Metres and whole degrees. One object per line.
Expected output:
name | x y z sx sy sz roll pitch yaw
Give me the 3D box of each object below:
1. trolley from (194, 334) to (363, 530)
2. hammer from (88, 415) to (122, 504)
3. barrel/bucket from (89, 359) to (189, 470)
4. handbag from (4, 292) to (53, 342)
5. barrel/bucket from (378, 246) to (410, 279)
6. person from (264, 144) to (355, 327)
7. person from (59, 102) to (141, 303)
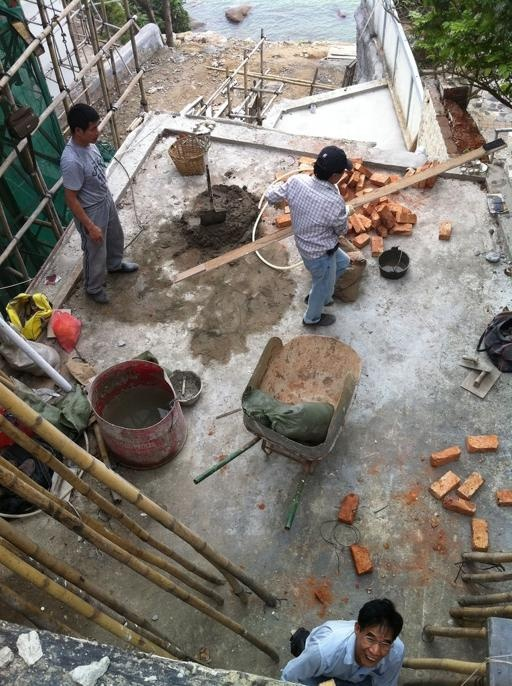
trolley | 0.371 0.390 4.239 0.874 0.528 1.274 5 45 16
hammer | -1.301 1.007 4.428 0.107 0.291 0.791 -25 45 -12
barrel/bucket | -1.084 0.647 4.516 0.842 0.975 0.801 5 38 -4
handbag | -2.382 -0.296 5.469 0.447 0.365 0.560 -29 46 -18
barrel/bucket | 1.620 -0.922 5.968 0.357 0.225 0.383 -6 43 5
person | 0.581 -1.051 5.209 0.894 1.966 0.669 21 52 27
person | -1.716 -1.450 5.476 0.518 2.183 0.724 18 49 7
